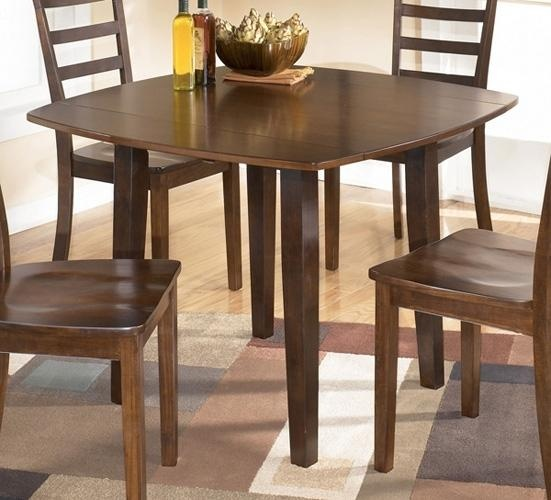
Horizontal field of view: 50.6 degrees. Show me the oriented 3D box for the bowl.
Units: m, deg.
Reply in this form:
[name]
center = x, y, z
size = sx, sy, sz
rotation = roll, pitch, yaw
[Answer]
[bowl]
center = -0.035, -0.627, 1.832
size = 0.271, 0.097, 0.206
rotation = 23, 39, 37
